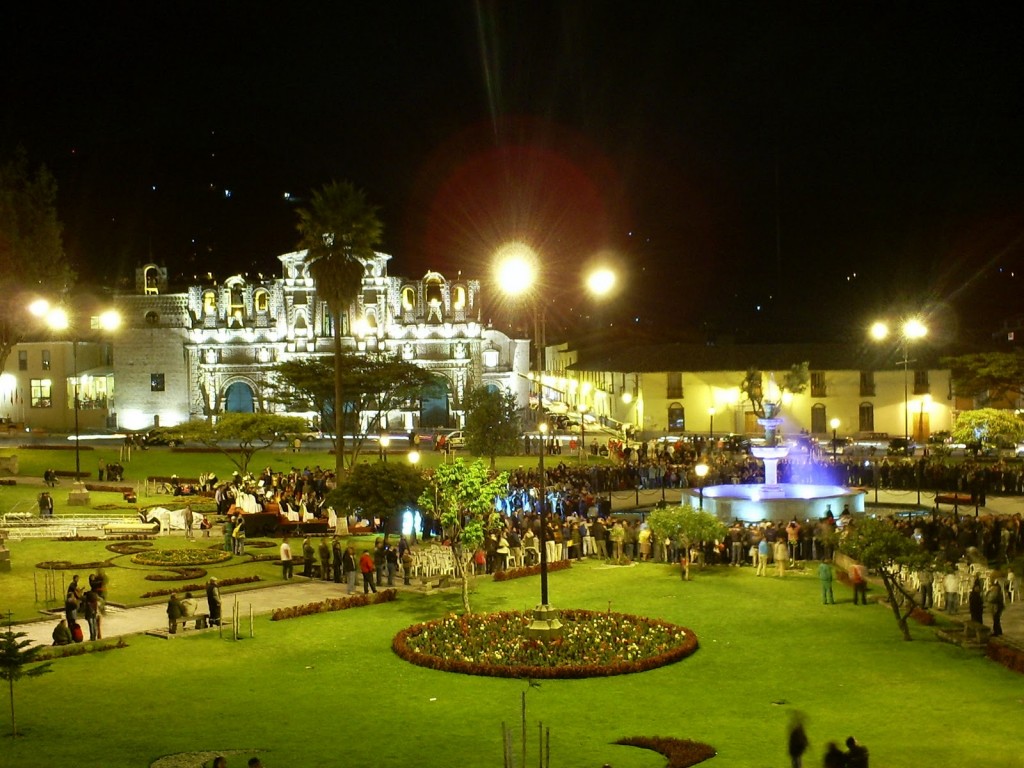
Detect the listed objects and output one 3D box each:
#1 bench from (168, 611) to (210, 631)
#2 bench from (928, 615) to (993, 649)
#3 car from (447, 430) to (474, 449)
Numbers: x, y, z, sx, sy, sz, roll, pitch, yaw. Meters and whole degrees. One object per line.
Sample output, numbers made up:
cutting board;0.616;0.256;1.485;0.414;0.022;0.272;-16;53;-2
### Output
bench;-10.750;7.885;33.500;1.186;0.471;1.566;1;-5;-7
bench;14.348;7.893;32.197;1.512;0.659;3.170;-1;-5;14
car;-4.491;4.359;81.663;2.686;1.366;1.589;7;-7;-41
